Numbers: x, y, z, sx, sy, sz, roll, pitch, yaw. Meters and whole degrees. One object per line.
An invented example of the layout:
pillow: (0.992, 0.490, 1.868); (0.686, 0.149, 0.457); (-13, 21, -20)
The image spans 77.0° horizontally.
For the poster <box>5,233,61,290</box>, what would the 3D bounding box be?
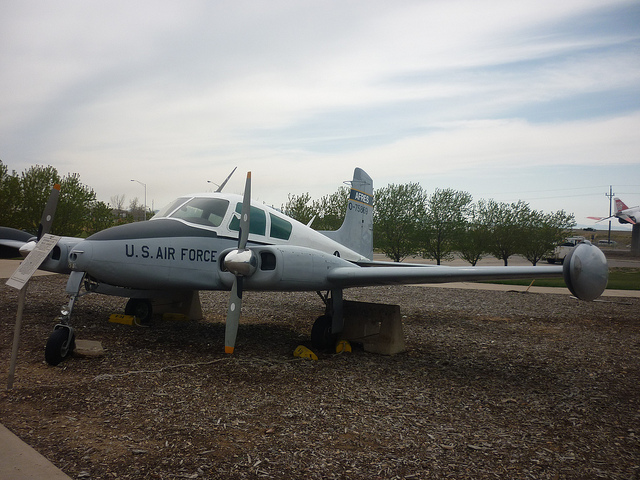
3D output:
poster: (-3.859, 0.286, 5.467); (0.464, 0.645, 0.651); (2, -2, -14)

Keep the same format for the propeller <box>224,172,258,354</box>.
propeller: (-1.286, 0.409, 6.628); (0.510, 3.045, 0.750); (3, -2, -8)
